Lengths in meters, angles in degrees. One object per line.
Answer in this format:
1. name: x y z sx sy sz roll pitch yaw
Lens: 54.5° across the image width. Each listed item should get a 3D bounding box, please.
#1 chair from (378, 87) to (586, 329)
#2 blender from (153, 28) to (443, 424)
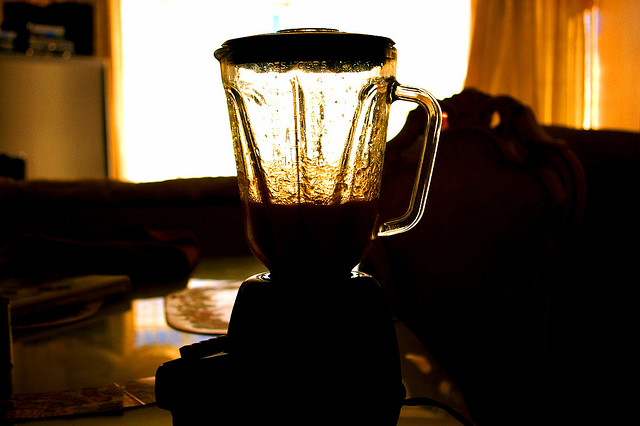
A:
1. chair: 0.355 -0.026 1.325 0.359 0.448 0.313 9 17 33
2. blender: 0.004 0.044 1.196 0.428 0.697 0.537 -4 6 -42
